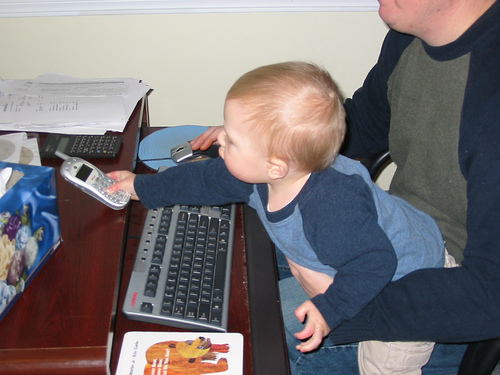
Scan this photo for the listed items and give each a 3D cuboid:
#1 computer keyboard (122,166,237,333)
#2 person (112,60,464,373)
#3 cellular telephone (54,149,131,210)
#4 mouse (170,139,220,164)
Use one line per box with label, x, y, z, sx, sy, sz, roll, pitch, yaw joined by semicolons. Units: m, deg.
computer keyboard;-0.162;0.178;1.025;0.234;0.065;0.476;7;23;-4
person;0.110;-0.023;1.113;0.854;0.699;0.628;-8;46;1
cellular telephone;-0.418;-0.016;1.065;0.237;0.040;0.086;32;16;4
mouse;-0.167;-0.103;1.236;0.115;0.030;0.072;-6;41;-17
